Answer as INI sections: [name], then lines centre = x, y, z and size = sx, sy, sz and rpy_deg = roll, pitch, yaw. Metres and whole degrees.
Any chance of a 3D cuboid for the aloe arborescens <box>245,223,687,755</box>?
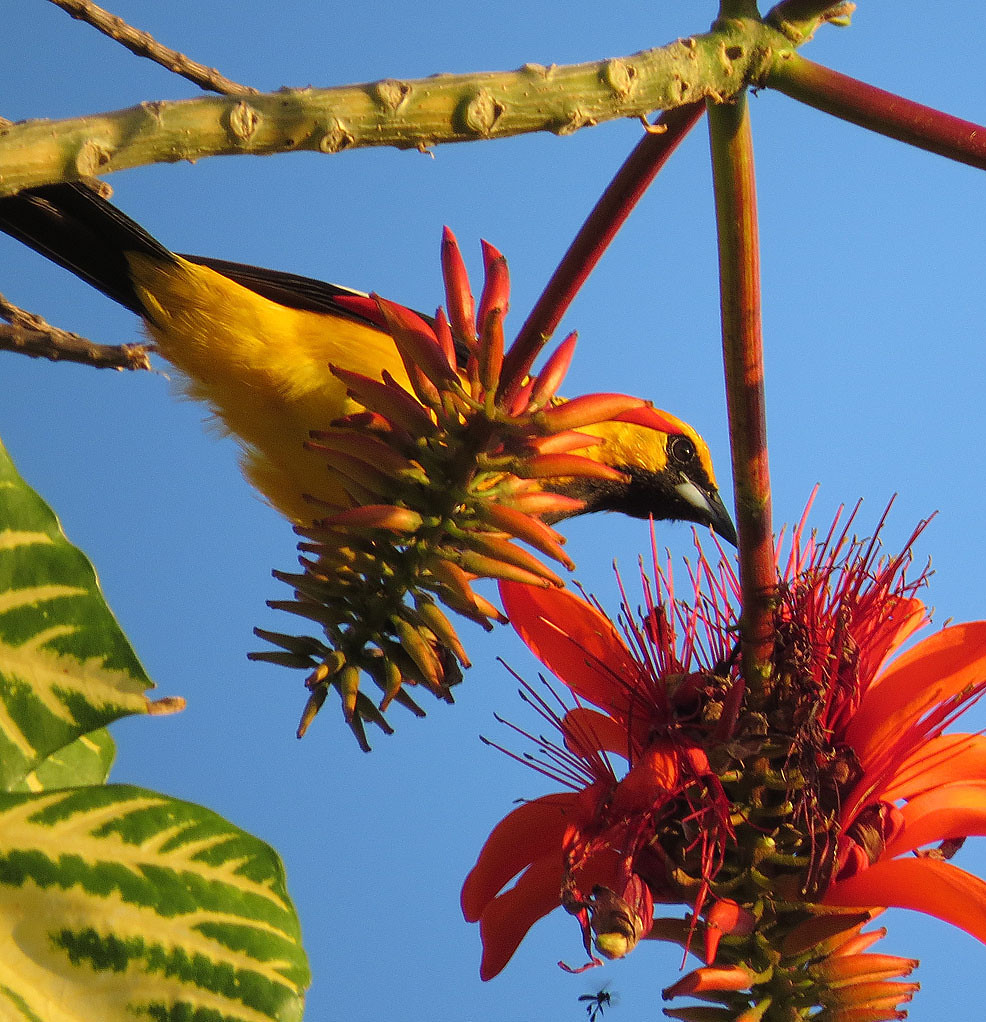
[aloe arborescens]
centre = -0.044, -0.033, 2.741
size = 0.203, 0.303, 0.651
rpy_deg = 32, -14, 1
